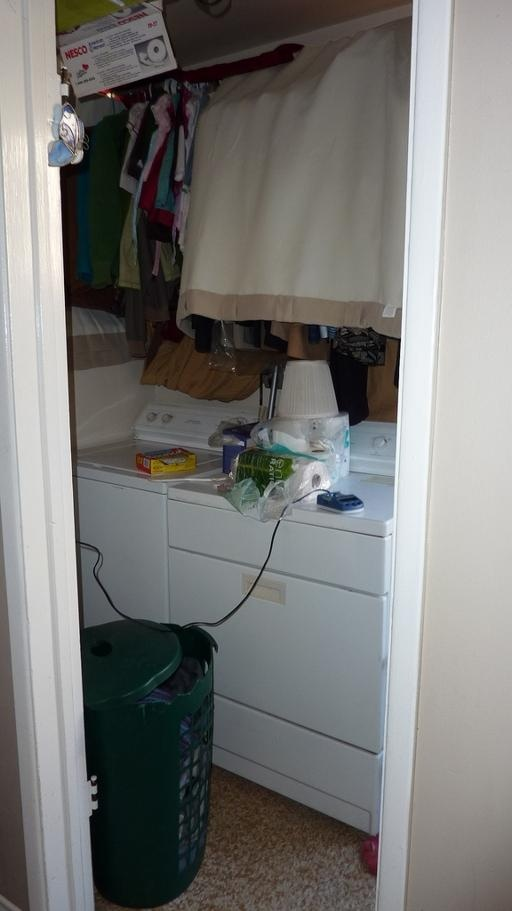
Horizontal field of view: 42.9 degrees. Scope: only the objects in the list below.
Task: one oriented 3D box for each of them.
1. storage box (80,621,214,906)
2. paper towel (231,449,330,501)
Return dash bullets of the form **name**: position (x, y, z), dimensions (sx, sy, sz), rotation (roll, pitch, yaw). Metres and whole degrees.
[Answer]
- **storage box**: position (-0.226, 0.698, 1.444), dimensions (0.305, 0.594, 0.342), rotation (-2, 6, -16)
- **paper towel**: position (0.068, 0.022, 1.769), dimensions (0.253, 0.169, 0.152), rotation (10, 4, 37)
